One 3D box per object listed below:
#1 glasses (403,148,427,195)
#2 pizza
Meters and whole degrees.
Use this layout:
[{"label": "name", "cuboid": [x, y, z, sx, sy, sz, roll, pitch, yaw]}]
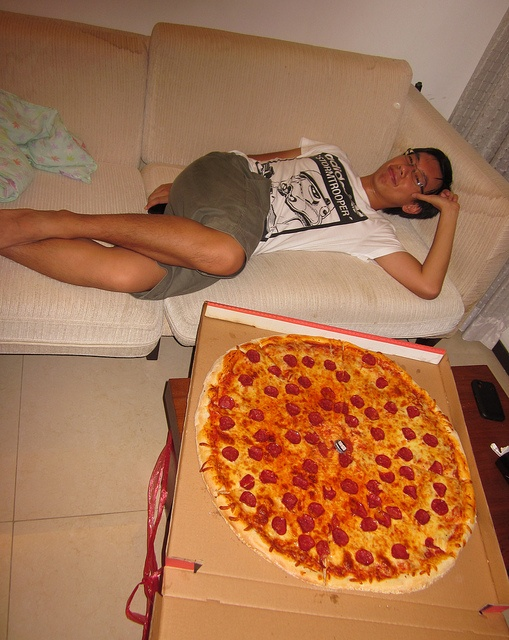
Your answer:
[{"label": "glasses", "cuboid": [0.513, -0.489, 1.615, 0.039, 0.127, 0.119, -22, 63, 8]}, {"label": "pizza", "cuboid": [0.184, 0.278, 1.010, 0.633, 0.063, 0.572, -6, 56, -37]}]
